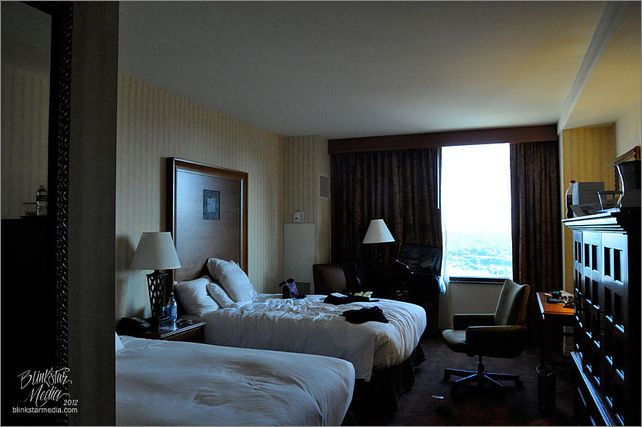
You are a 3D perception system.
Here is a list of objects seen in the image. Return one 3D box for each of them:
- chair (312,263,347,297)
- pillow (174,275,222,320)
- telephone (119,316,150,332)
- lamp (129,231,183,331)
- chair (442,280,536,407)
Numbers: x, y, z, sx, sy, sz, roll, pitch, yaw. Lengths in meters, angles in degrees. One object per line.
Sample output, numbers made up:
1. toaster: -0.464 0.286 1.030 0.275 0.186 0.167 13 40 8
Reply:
1. chair: 0.122 0.935 6.470 0.421 0.560 0.422 3 -4 -41
2. pillow: -1.310 0.862 4.934 0.315 0.334 0.598 9 2 19
3. telephone: -1.757 1.039 4.251 0.213 0.076 0.153 0 0 7
4. lamp: -1.647 0.617 4.488 0.436 0.887 0.531 2 5 -23
5. chair: 1.639 1.325 5.063 1.051 1.401 1.076 1 -5 11
